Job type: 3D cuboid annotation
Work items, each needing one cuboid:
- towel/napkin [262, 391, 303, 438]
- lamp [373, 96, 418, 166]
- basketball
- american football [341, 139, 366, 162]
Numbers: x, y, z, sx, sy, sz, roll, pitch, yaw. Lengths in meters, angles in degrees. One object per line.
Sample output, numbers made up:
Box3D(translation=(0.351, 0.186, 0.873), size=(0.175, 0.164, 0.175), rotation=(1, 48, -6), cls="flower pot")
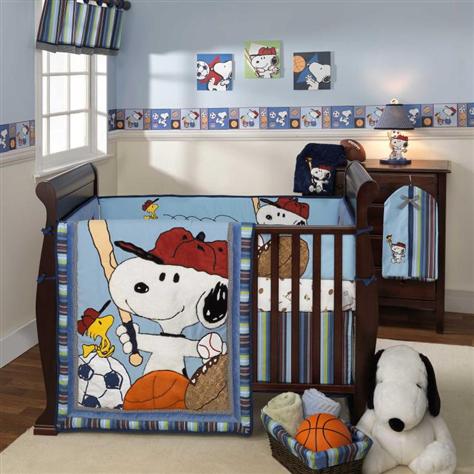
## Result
Box3D(translation=(0.175, 0.631, 2.103), size=(0.124, 0.168, 0.118), rotation=(3, 5, 21), cls="towel/napkin")
Box3D(translation=(1.010, -0.678, 3.650), size=(0.239, 0.402, 0.398), rotation=(4, 12, 19), cls="lamp")
Box3D(translation=(0.303, 0.667, 1.952), size=(0.107, 0.142, 0.123), rotation=(4, 8, -4), cls="basketball")
Box3D(translation=(0.770, -0.573, 3.766), size=(0.168, 0.135, 0.308), rotation=(3, 12, 11), cls="american football")
